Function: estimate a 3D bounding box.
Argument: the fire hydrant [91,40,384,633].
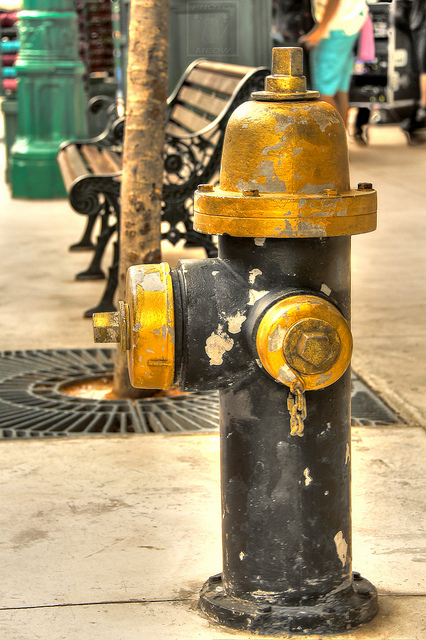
[{"bbox_3d":[0.060,0.058,1.603,0.565,1.123,0.336,-3,15,-8],"label":"fire hydrant"}]
